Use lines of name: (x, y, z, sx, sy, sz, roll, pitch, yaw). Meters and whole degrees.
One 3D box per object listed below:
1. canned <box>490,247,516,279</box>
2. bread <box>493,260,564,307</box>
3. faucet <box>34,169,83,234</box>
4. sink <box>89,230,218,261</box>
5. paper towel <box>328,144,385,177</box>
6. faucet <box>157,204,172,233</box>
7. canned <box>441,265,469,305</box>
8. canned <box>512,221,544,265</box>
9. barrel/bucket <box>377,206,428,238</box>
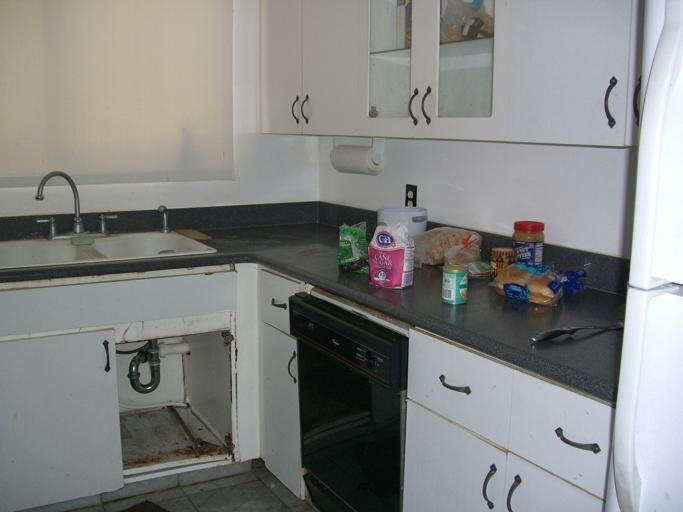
canned: (0.585, 0.019, 2.092, 0.094, 0.114, 0.099, -2, 13, -6)
bread: (0.618, 0.099, 1.886, 0.214, 0.089, 0.112, 8, 15, 39)
faucet: (-1.310, -0.243, 2.637, 0.193, 0.298, 0.326, -8, 13, -28)
sink: (-0.873, -0.025, 2.682, 0.564, 0.122, 0.403, 8, 16, 39)
paper towel: (0.102, -0.480, 2.843, 0.189, 0.150, 0.290, -11, 15, -38)
faucet: (-0.920, -0.192, 2.942, 0.054, 0.134, 0.116, -5, 12, -17)
canned: (0.383, 0.086, 1.836, 0.136, 0.125, 0.075, -13, 15, -43)
canned: (0.701, -0.029, 2.116, 0.114, 0.203, 0.116, 1, 16, 20)
barrel/bucket: (0.272, -0.158, 2.513, 0.202, 0.114, 0.265, 1, 12, 13)
